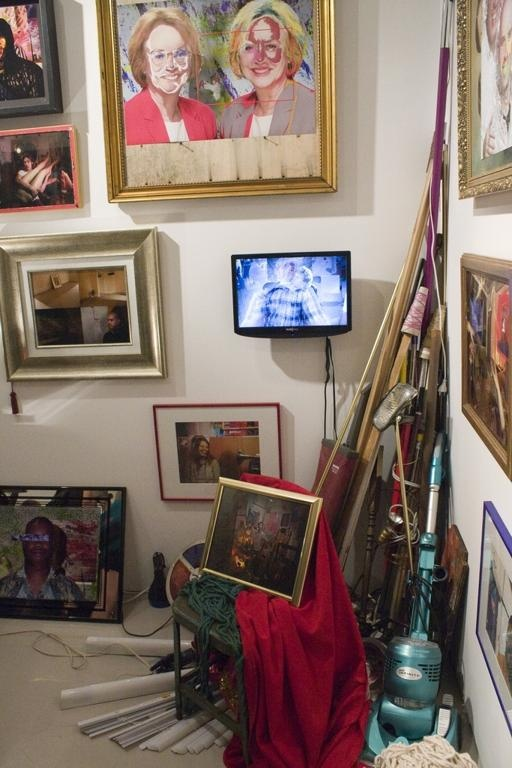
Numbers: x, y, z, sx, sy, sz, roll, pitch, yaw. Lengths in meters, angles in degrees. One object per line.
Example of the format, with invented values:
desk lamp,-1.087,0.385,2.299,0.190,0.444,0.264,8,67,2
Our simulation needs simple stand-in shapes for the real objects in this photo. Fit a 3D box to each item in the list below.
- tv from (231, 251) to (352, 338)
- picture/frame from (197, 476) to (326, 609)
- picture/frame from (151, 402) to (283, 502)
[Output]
tv,0.149,-0.355,2.274,0.309,0.246,0.034,0,14,7
picture/frame,0.026,0.541,1.956,0.350,0.338,0.034,11,-11,32
picture/frame,-0.150,0.274,2.510,0.412,0.357,0.019,0,12,4
